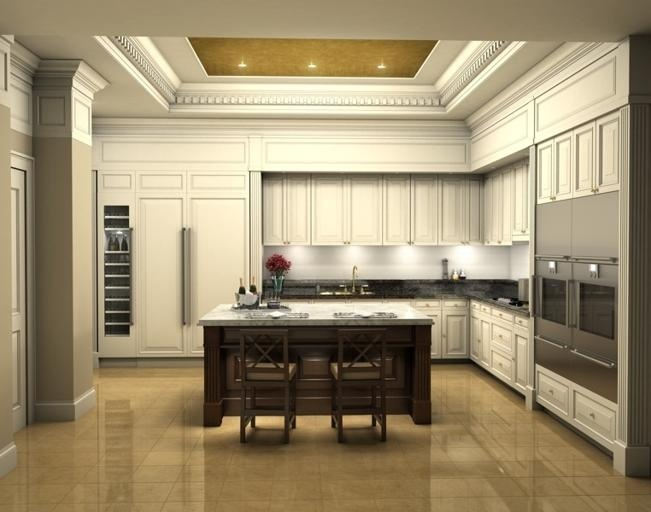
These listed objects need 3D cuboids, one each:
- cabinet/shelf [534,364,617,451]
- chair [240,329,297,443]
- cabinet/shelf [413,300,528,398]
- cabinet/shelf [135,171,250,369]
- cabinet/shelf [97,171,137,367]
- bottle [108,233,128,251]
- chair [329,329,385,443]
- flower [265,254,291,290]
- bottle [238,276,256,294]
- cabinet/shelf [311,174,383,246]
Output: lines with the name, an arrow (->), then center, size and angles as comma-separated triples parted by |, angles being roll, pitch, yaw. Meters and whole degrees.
cabinet/shelf -> 2.539, 1.406, 5.113 | 0.460, 0.497, 1.436 | -2, 3, -6
chair -> -0.578, 1.176, 5.143 | 0.606, 1.070, 0.702 | -1, 8, -3
cabinet/shelf -> 1.918, 1.062, 6.685 | 0.597, 1.053, 1.810 | -2, 8, -15
cabinet/shelf -> -1.862, 0.089, 7.305 | 1.522, 2.513, 0.369 | 0, 8, 0
cabinet/shelf -> -2.789, 0.240, 7.419 | 0.583, 2.511, 0.555 | 3, 8, 2
bottle -> -2.848, -0.205, 7.271 | 0.276, 0.278, 0.043 | 0, 8, 3
chair -> 0.305, 1.171, 5.179 | 0.527, 1.075, 0.711 | 0, 8, -2
flower -> -0.552, 0.210, 5.986 | 0.307, 0.437, 0.303 | 2, -13, -22
bottle -> -0.974, 0.341, 6.549 | 0.238, 0.205, 0.089 | 0, -6, -12
cabinet/shelf -> 0.255, -0.716, 7.640 | 1.098, 0.925, 0.443 | 0, 0, -2
